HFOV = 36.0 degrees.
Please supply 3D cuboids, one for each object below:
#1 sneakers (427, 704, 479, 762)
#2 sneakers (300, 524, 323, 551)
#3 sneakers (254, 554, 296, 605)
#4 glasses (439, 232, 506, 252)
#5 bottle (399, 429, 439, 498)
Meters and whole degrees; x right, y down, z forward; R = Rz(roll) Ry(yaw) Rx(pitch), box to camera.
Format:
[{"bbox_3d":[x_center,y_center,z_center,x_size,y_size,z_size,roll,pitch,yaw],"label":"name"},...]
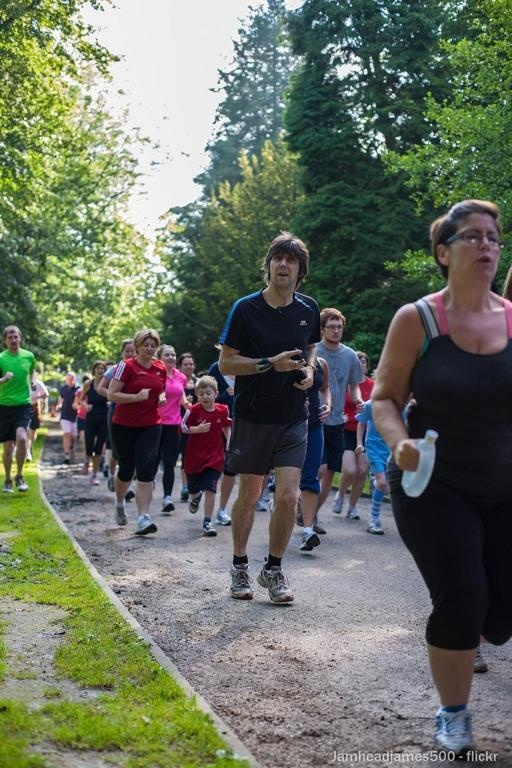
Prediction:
[{"bbox_3d":[0.661,1.142,2.613,0.121,0.138,0.122,6,-2,7],"label":"sneakers"},{"bbox_3d":[0.507,1.423,7.184,0.118,0.137,0.322,4,-23,-11],"label":"sneakers"},{"bbox_3d":[0.104,1.265,5.094,0.143,0.154,0.389,10,12,-30],"label":"sneakers"},{"bbox_3d":[0.746,-0.498,2.749,0.111,0.034,0.126,1,2,-18],"label":"glasses"},{"bbox_3d":[0.520,0.253,2.498,0.101,0.219,0.164,19,26,2],"label":"bottle"}]
